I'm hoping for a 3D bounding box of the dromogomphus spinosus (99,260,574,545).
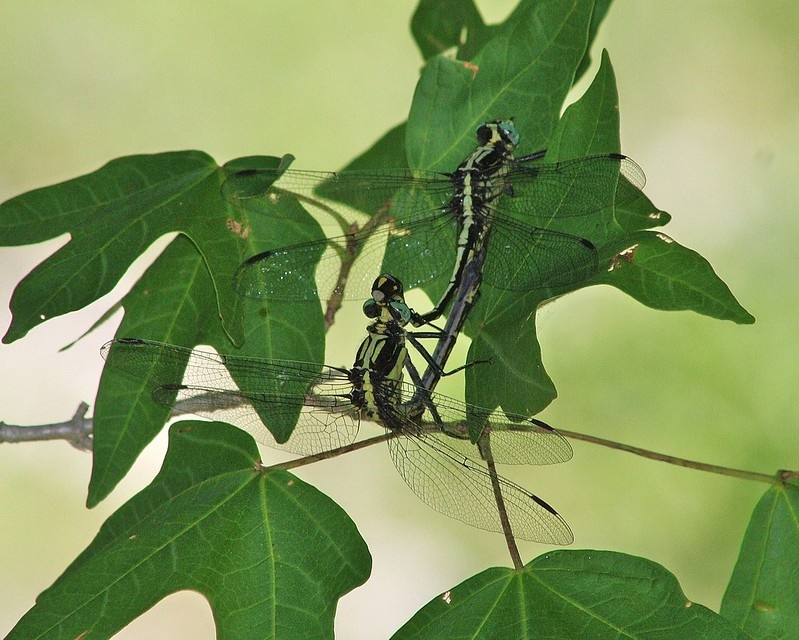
[{"bbox_3d":[-0.066,0.137,1.492,0.624,0.314,0.392,8,-95,12],"label":"dromogomphus spinosus"}]

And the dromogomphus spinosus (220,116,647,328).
[{"bbox_3d":[0.070,-0.142,1.505,0.448,0.349,0.203,-6,-37,36],"label":"dromogomphus spinosus"}]
